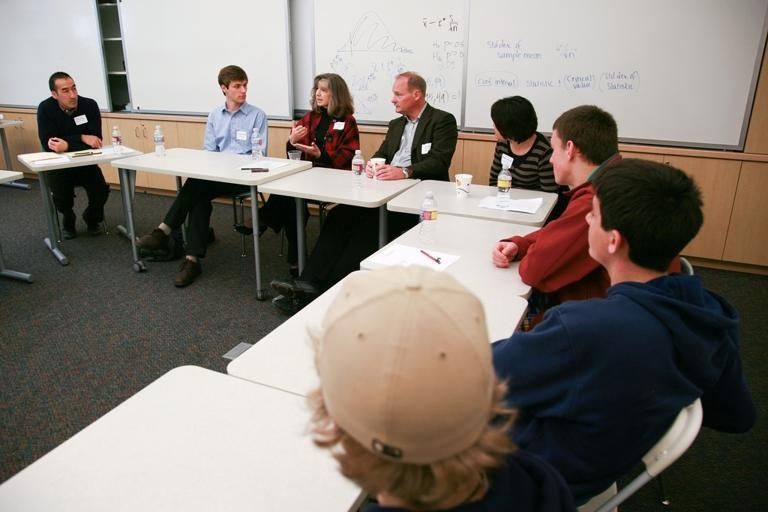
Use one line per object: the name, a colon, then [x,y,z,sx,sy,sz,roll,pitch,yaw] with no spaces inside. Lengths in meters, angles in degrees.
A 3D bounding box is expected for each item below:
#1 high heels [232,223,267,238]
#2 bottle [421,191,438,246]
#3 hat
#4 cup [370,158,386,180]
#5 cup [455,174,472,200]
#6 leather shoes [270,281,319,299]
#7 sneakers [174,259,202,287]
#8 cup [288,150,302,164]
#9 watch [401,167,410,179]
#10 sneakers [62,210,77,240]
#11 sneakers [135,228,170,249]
high heels: [-1.127,-0.214,4.506,0.306,0.133,0.098,10,18,16]
bottle: [0.255,-0.244,2.965,0.095,0.242,0.304,4,22,4]
hat: [0.062,0.231,1.193,0.322,0.270,0.475,-2,42,-1]
cup: [-0.046,-0.649,4.020,0.096,0.125,0.137,2,21,-2]
cup: [0.538,-0.478,3.682,0.146,0.157,0.149,0,15,0]
leather shoes: [-0.621,0.221,3.745,0.269,0.104,0.151,12,15,20]
sneakers: [-1.543,0.127,4.298,0.098,0.136,0.314,1,12,6]
cup: [-0.735,-0.821,4.448,0.105,0.083,0.104,0,20,0]
watch: [0.155,-0.624,4.059,0.050,0.084,0.079,-5,-21,-25]
sneakers: [-2.967,-0.290,5.169,0.105,0.226,0.321,-4,26,-21]
sneakers: [-1.939,-0.137,4.528,0.115,0.152,0.316,14,7,21]
